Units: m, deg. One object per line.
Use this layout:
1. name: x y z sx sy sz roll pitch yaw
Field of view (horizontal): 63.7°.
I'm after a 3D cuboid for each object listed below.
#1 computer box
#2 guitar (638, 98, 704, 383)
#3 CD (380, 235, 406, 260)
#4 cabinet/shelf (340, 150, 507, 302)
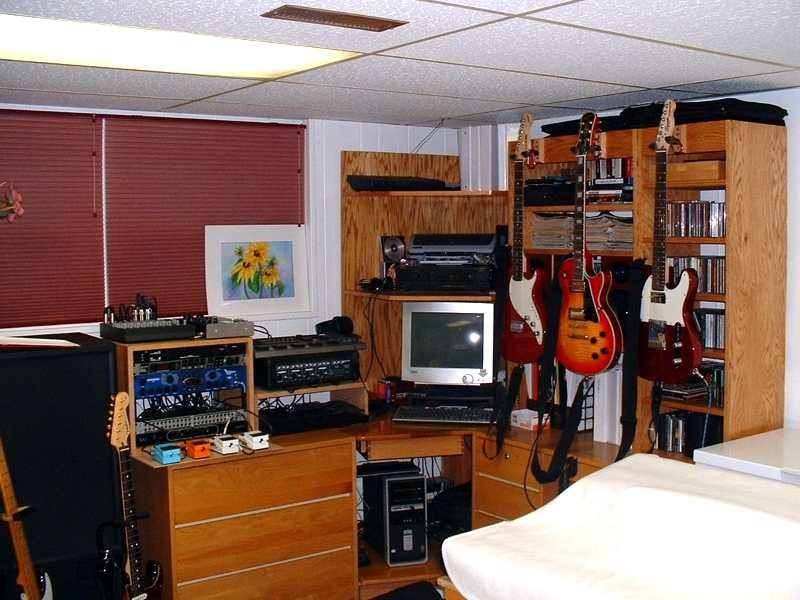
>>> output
1. computer box: -0.013 1.345 3.978 0.363 0.548 0.563 0 -1 -14
2. guitar: 1.291 -0.282 3.161 0.266 1.382 0.226 -5 7 9
3. CD: -0.035 -0.357 4.336 0.178 0.153 0.056 3 0 -19
4. cabinet/shelf: 0.386 -0.627 4.907 0.533 0.773 0.874 7 5 42
